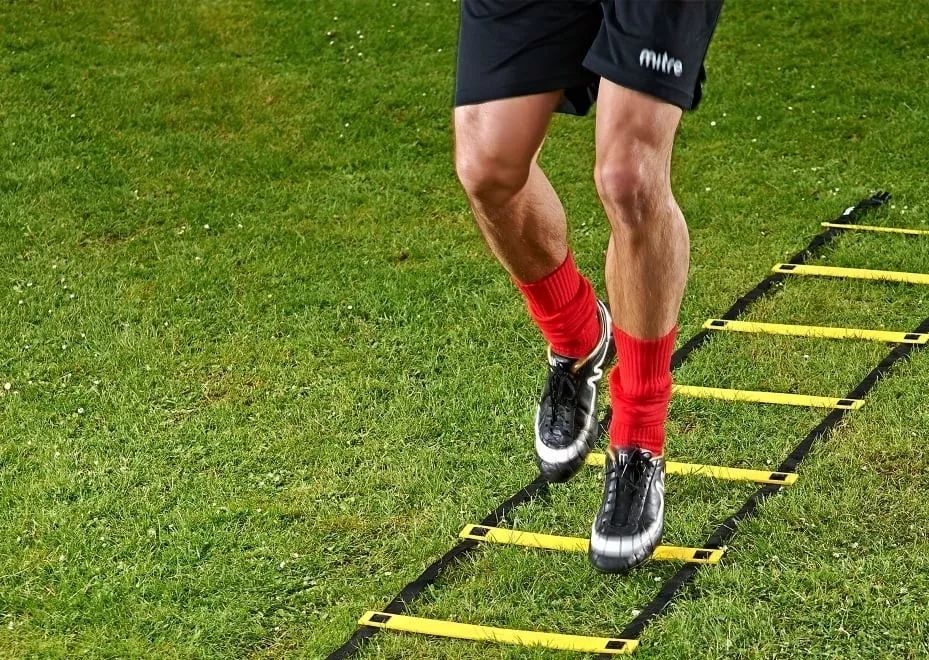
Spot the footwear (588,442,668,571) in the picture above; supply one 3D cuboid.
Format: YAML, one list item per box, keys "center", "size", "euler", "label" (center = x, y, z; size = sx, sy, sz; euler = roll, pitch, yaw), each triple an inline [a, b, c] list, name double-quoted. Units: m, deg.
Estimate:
- center: [0.748, 0.819, 5.092]
  size: [0.258, 0.258, 0.645]
  euler: [2, 46, 19]
  label: "footwear"

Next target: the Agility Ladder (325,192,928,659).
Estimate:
- center: [1.633, 0.309, 6.366]
  size: [1.257, 0.161, 5.798]
  euler: [15, 41, 44]
  label: "Agility Ladder"

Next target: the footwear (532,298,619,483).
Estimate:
- center: [0.529, 0.317, 5.345]
  size: [0.272, 0.310, 0.764]
  euler: [3, 70, 29]
  label: "footwear"
